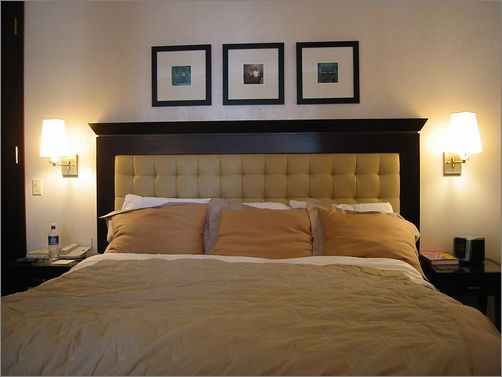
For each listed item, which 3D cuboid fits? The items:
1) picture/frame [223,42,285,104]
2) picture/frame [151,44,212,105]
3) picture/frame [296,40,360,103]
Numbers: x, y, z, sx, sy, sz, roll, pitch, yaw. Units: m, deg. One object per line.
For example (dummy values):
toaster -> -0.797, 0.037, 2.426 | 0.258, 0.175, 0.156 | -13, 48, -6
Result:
picture/frame -> 0.050, -1.030, 3.642 | 0.494, 0.504, 0.037 | 0, 4, 4
picture/frame -> -0.587, -1.028, 3.680 | 0.500, 0.518, 0.042 | 0, 1, 1
picture/frame -> 0.697, -1.035, 3.608 | 0.497, 0.518, 0.039 | 0, 2, 0
